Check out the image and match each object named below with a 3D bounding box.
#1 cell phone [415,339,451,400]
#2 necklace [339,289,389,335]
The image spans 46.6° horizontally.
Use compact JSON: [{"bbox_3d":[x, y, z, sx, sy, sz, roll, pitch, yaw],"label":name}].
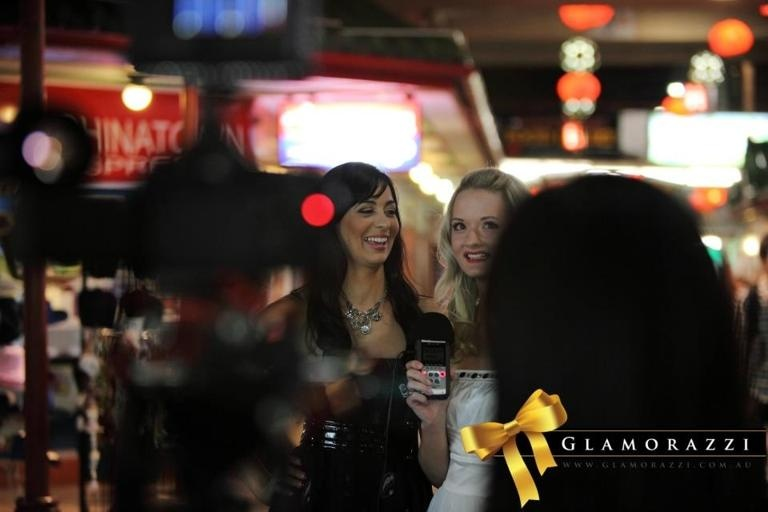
[{"bbox_3d":[0.149,0.344,2.726,0.099,0.169,0.047,0,1,1],"label":"cell phone"},{"bbox_3d":[-0.070,0.169,2.861,0.110,0.141,0.060,3,11,10],"label":"necklace"}]
